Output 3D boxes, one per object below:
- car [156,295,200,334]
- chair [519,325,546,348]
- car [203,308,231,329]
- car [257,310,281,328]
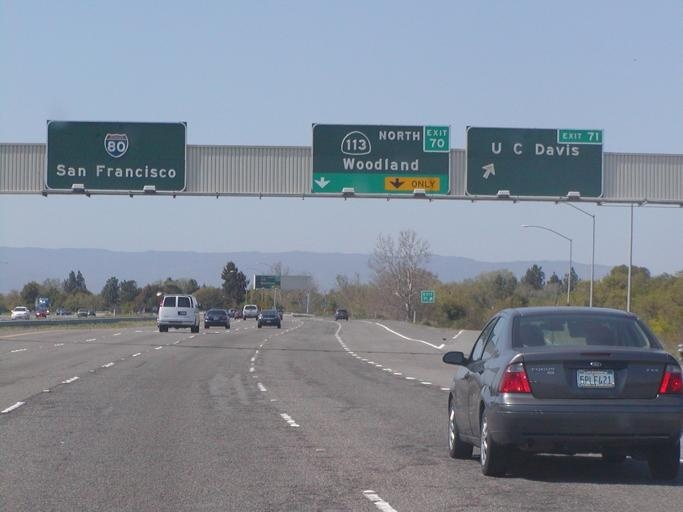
[{"bbox_3d":[-9.411,3.340,57.049,2.269,2.250,2.603,0,-1,-12],"label":"car"},{"bbox_3d":[2.720,1.169,14.170,0.296,0.360,0.246,-3,-7,13],"label":"chair"},{"bbox_3d":[-9.009,4.529,70.946,1.621,1.386,3.227,0,-1,-10],"label":"car"},{"bbox_3d":[-5.619,4.925,76.346,1.158,1.019,2.078,-1,-8,-2],"label":"car"}]
